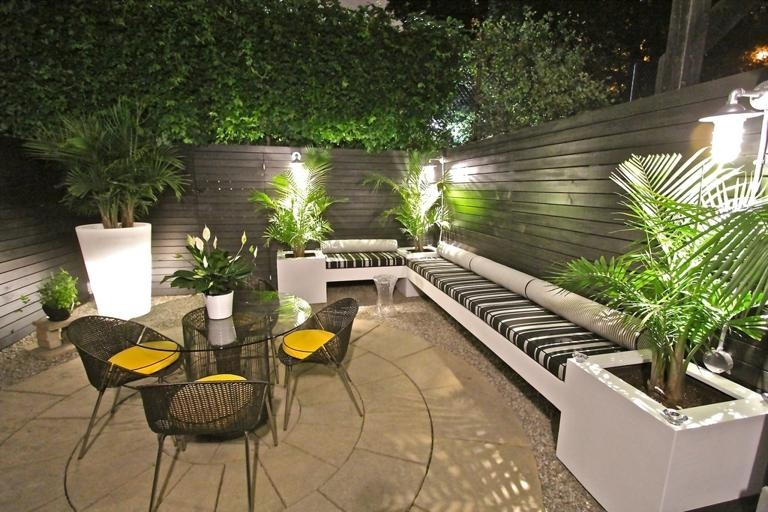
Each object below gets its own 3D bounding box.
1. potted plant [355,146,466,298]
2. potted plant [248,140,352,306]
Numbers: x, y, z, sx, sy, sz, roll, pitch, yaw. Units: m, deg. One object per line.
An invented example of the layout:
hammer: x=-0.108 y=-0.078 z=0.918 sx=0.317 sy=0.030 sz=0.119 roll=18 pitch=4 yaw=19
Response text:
potted plant: x=0.564 y=-0.927 z=8.318 sx=2.600 sy=2.233 sz=1.817 roll=-3 pitch=16 yaw=-13
potted plant: x=-1.492 y=-0.344 z=7.261 sx=1.476 sy=2.278 sz=1.602 roll=-6 pitch=-3 yaw=24
